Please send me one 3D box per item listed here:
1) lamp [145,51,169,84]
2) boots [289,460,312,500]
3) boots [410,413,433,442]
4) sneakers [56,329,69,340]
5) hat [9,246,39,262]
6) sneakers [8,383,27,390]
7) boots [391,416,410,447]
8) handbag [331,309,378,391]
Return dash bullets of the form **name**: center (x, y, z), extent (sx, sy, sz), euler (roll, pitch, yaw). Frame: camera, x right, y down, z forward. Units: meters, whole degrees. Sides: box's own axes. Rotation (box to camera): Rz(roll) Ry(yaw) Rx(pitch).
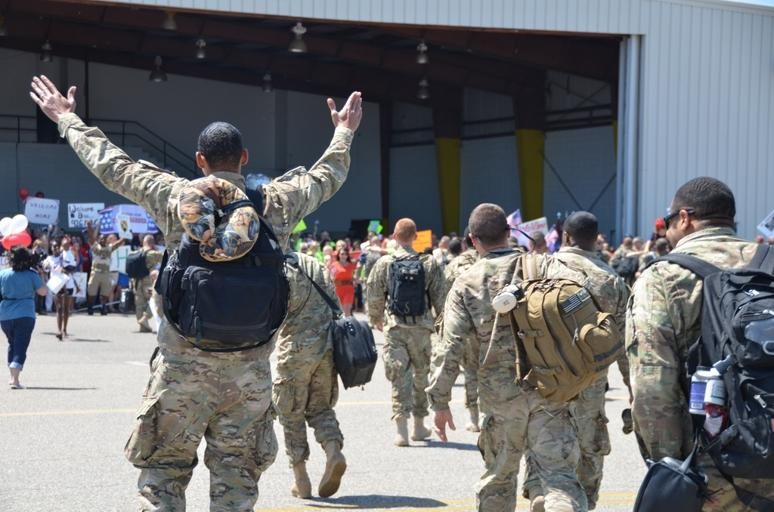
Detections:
- **lamp**: center (-7.966, -6.609, 53.258), extent (0.897, 1.331, 0.935), euler (0, -10, 5)
- **boots**: center (-1.757, 4.377, 30.358), extent (0.324, 0.755, 0.736), euler (-7, 0, -23)
- **boots**: center (0.682, 3.588, 31.967), extent (0.280, 0.592, 0.578), euler (0, 4, 25)
- **sneakers**: center (-8.219, 1.978, 39.076), extent (0.202, 0.241, 0.572), euler (0, -5, -6)
- **hat**: center (-8.101, -0.083, 34.611), extent (0.373, 0.201, 0.440), euler (2, -4, 12)
- **sneakers**: center (-8.105, 2.857, 33.965), extent (0.334, 0.134, 0.121), euler (-2, 2, -33)
- **boots**: center (0.307, 3.589, 31.822), extent (0.313, 0.607, 0.447), euler (1, 2, 1)
- **handbag**: center (-0.672, 1.867, 30.471), extent (0.831, 1.720, 1.219), euler (-6, -32, -14)
